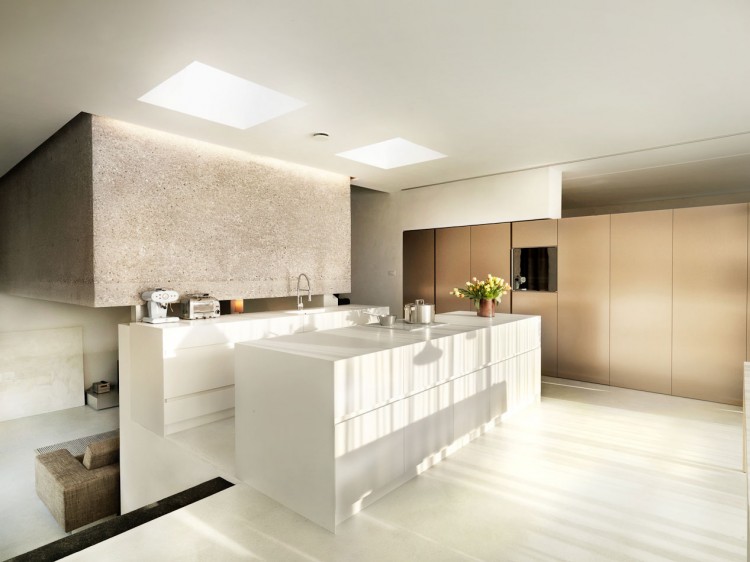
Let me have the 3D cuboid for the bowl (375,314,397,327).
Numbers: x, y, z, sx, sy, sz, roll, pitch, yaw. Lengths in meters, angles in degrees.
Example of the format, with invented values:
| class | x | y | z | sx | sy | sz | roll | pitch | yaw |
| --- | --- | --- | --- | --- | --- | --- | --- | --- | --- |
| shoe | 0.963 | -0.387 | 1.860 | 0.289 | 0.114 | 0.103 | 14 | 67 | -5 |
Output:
| class | x | y | z | sx | sy | sz | roll | pitch | yaw |
| --- | --- | --- | --- | --- | --- | --- | --- | --- | --- |
| bowl | 0.108 | 0.370 | 4.989 | 0.151 | 0.124 | 0.244 | 2 | 12 | 8 |

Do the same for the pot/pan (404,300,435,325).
| class | x | y | z | sx | sy | sz | roll | pitch | yaw |
| --- | --- | --- | --- | --- | --- | --- | --- | --- | --- |
| pot/pan | 0.473 | 0.320 | 5.198 | 0.199 | 0.203 | 0.282 | 0 | -1 | 41 |

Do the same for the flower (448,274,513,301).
| class | x | y | z | sx | sy | sz | roll | pitch | yaw |
| --- | --- | --- | --- | --- | --- | --- | --- | --- | --- |
| flower | 1.180 | 0.054 | 5.821 | 0.619 | 0.273 | 0.559 | -3 | -6 | 5 |

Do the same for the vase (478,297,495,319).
| class | x | y | z | sx | sy | sz | roll | pitch | yaw |
| --- | --- | --- | --- | --- | --- | --- | --- | --- | --- |
| vase | 1.213 | 0.283 | 5.777 | 0.180 | 0.200 | 0.175 | -3 | -5 | 29 |

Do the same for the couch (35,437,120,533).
| class | x | y | z | sx | sy | sz | roll | pitch | yaw |
| --- | --- | --- | --- | --- | --- | --- | --- | --- | --- |
| couch | -3.091 | 2.097 | 5.673 | 0.817 | 0.832 | 0.887 | 14 | 9 | 37 |
